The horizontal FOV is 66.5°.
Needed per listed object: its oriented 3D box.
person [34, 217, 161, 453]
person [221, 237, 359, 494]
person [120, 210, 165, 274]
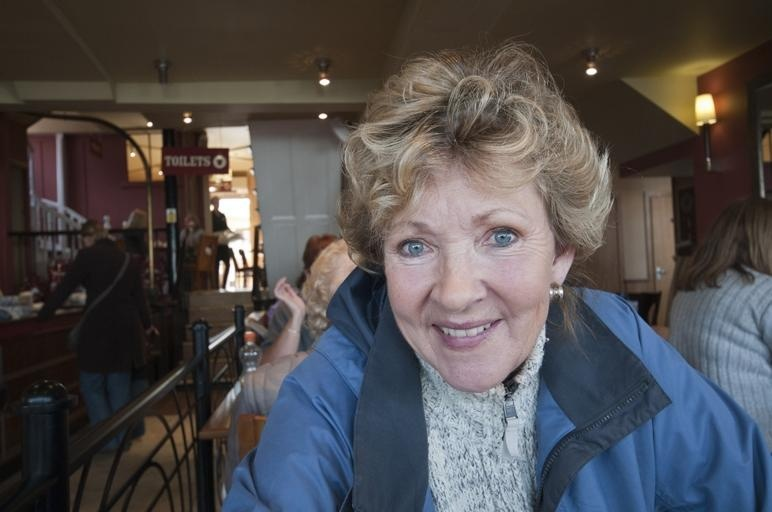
[{"bbox_3d":[-2.462,0.570,5.135,0.792,1.513,0.368,-1,1,-24],"label":"person"},{"bbox_3d":[-0.566,0.585,3.409,0.490,1.009,1.748,-1,5,-2],"label":"person"},{"bbox_3d":[-4.067,-0.304,10.025,0.874,0.904,0.634,-10,14,-5],"label":"person"}]
